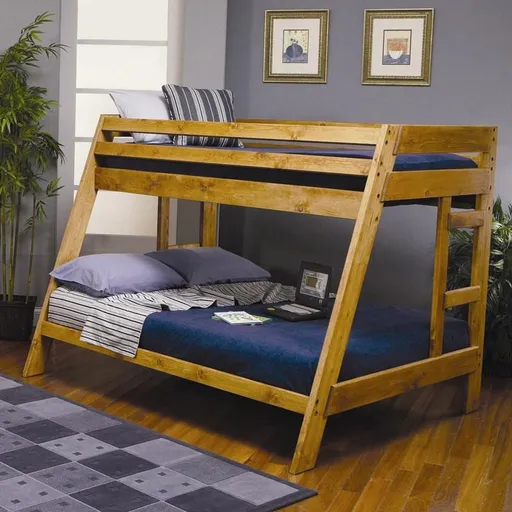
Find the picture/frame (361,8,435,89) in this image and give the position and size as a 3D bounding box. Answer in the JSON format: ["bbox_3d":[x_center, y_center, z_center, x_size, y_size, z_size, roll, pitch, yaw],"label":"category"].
[{"bbox_3d":[0.957,-1.385,3.368,0.735,0.577,0.049,2,3,13],"label":"picture/frame"}]

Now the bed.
[{"bbox_3d":[0.139,-0.141,2.667,1.729,0.964,1.139,12,17,40],"label":"bed"}]

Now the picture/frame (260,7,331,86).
[{"bbox_3d":[0.294,-1.489,3.595,0.759,0.579,0.030,3,6,18],"label":"picture/frame"}]

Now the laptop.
[{"bbox_3d":[0.205,0.177,2.561,0.304,0.258,0.321,-2,9,-23],"label":"laptop"}]
